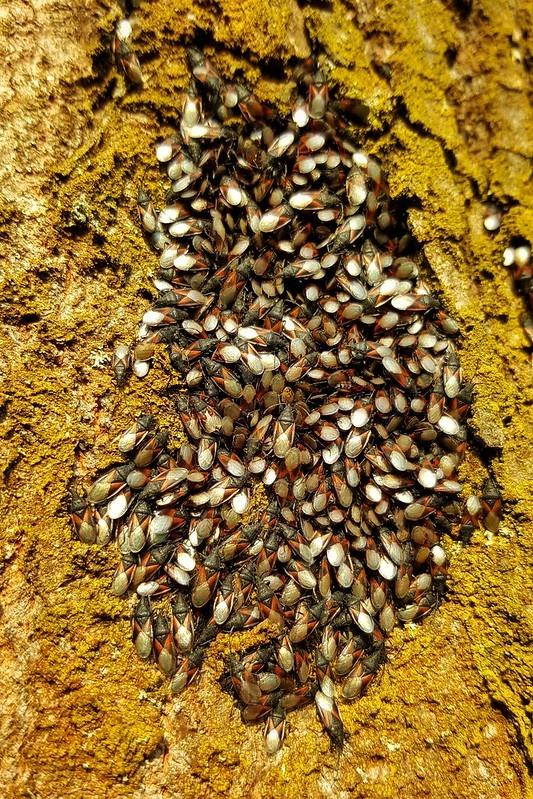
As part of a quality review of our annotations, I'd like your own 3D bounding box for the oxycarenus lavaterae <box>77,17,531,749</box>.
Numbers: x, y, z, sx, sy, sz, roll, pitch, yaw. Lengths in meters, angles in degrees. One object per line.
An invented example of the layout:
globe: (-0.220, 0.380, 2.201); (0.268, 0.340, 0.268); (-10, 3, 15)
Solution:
oxycarenus lavaterae: (0.137, 0.065, 7.133); (2.520, 1.124, 4.092); (-1, 83, 1)
